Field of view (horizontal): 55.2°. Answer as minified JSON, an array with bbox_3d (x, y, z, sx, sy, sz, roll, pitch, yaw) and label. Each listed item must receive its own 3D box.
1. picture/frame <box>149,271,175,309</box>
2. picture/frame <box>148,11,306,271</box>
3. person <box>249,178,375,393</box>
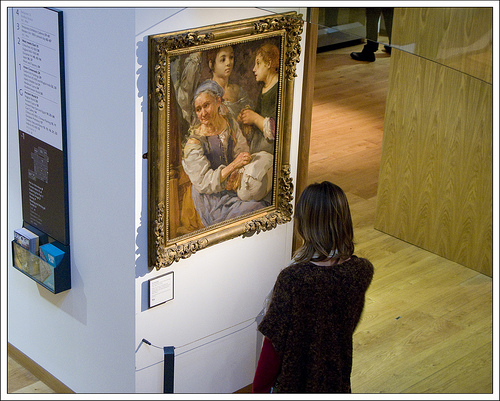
[{"bbox_3d":[-0.472,0.467,2.529,0.024,0.179,0.181,20,29,41],"label":"picture/frame"},{"bbox_3d":[-0.140,-0.346,2.464,1.073,1.416,0.147,-18,31,-34],"label":"picture/frame"},{"bbox_3d":[0.252,0.440,1.942,0.520,1.044,0.227,-10,15,-25],"label":"person"}]
